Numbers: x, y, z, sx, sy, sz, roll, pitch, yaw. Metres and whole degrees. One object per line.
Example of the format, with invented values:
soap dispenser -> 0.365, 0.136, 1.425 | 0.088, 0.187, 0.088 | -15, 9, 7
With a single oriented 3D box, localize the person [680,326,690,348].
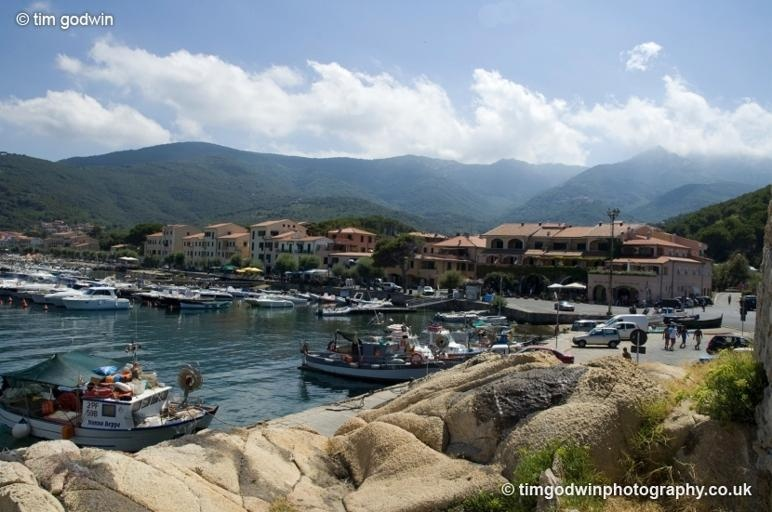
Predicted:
person -> 22.223, 6.104, 43.557 | 0.473, 1.363, 1.816 | -1, -1, 26

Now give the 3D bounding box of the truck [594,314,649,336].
truck -> 18.947, 5.589, 46.798 | 5.647, 1.894, 2.913 | 1, -3, -4

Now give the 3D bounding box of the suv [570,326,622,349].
suv -> 16.498, 6.442, 45.587 | 2.800, 1.186, 1.620 | 3, -2, 7

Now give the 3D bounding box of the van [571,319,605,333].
van -> 17.850, 6.152, 50.714 | 2.850, 0.912, 1.931 | -1, 3, 2

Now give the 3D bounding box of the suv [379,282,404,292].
suv -> 0.737, 5.006, 90.939 | 2.904, 0.910, 1.369 | -1, 1, 26

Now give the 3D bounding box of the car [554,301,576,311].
car -> 20.446, 5.853, 66.101 | 2.213, 0.814, 1.286 | -4, 7, -17

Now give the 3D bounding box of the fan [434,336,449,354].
fan -> 3.992, 6.287, 41.283 | 0.965, 1.194, 0.514 | -1, 0, 0

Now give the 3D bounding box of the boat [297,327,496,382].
boat -> 1.759, 8.021, 42.451 | 16.064, 4.859, 4.724 | 1, 0, 14

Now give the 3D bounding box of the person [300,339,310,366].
person -> -6.279, 7.657, 45.342 | 0.470, 1.654, 0.635 | 35, -47, -28

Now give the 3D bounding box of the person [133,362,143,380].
person -> -11.524, 5.397, 26.996 | 0.452, 0.720, 0.502 | 0, -1, -24

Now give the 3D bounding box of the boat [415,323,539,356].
boat -> 7.421, 7.111, 45.189 | 10.299, 2.920, 2.912 | 1, 1, -26
